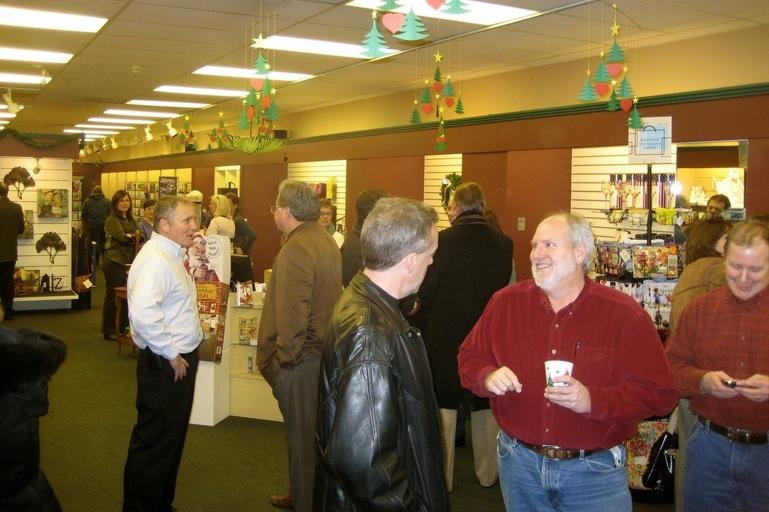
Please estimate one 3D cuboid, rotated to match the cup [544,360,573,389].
[{"bbox_3d":[0.901,0.610,2.969,0.125,0.103,0.131,3,-12,1],"label":"cup"}]
